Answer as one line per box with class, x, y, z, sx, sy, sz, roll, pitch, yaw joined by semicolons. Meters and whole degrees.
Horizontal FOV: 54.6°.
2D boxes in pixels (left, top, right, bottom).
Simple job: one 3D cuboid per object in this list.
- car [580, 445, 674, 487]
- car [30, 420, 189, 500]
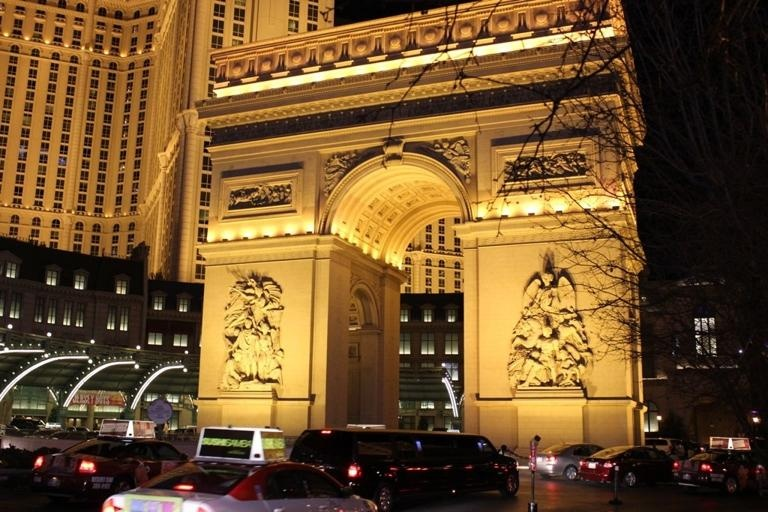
car;10.434;8.913;31.701;3.954;1.635;1.331;11;-21;-31
car;-9.058;6.511;23.261;2.525;1.587;5.449;-4;-10;31
